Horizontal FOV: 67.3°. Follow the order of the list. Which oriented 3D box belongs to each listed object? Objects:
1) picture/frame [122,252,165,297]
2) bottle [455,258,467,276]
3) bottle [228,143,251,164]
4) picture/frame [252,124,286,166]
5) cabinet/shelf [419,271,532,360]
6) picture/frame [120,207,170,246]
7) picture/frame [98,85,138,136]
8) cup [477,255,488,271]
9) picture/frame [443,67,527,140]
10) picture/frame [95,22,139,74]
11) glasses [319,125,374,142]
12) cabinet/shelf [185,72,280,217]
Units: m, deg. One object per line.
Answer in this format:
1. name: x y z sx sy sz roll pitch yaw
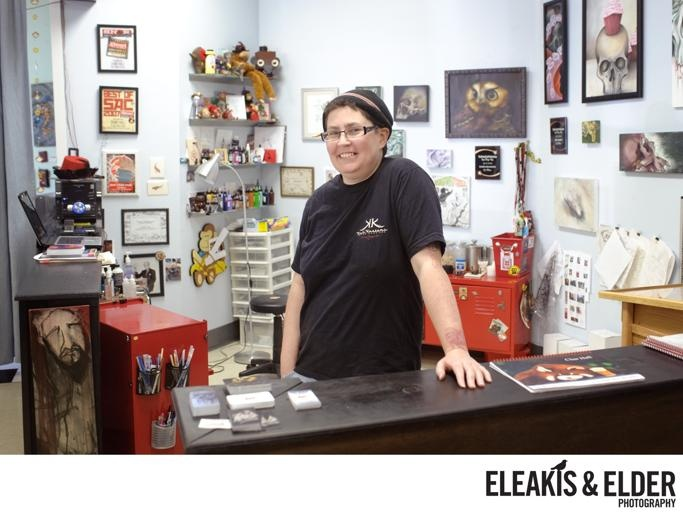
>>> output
1. picture/frame: -1.699 0.154 4.414 0.354 0.462 0.041 -1 6 -12
2. bottle: 1.074 0.103 4.652 0.115 0.231 0.122 1 -1 0
3. bottle: -1.032 -1.056 5.299 0.203 0.245 0.166 -5 11 -27
4. picture/frame: -0.771 -1.199 5.535 0.397 0.518 0.065 0 -1 18
5. cabinet/shelf: 1.210 0.500 4.855 1.097 1.180 0.701 0 0 27
6. picture/frame: -1.818 -0.275 4.731 0.318 0.298 0.028 -1 1 -25
7. picture/frame: -1.992 -1.305 4.578 0.406 0.562 0.020 -1 0 -13
8. cup: 1.275 0.089 4.651 0.090 0.117 0.097 0 0 0
9. picture/frame: 1.339 -1.403 4.697 0.620 0.611 0.046 3 8 23
10. picture/frame: -1.989 -1.840 4.541 0.403 0.550 0.018 -2 5 -23
11. glasses: 0.005 -0.421 1.777 0.210 0.052 0.098 12 18 39
12. cabinet/shelf: -1.117 -1.168 5.172 0.352 1.332 1.396 0 3 26
